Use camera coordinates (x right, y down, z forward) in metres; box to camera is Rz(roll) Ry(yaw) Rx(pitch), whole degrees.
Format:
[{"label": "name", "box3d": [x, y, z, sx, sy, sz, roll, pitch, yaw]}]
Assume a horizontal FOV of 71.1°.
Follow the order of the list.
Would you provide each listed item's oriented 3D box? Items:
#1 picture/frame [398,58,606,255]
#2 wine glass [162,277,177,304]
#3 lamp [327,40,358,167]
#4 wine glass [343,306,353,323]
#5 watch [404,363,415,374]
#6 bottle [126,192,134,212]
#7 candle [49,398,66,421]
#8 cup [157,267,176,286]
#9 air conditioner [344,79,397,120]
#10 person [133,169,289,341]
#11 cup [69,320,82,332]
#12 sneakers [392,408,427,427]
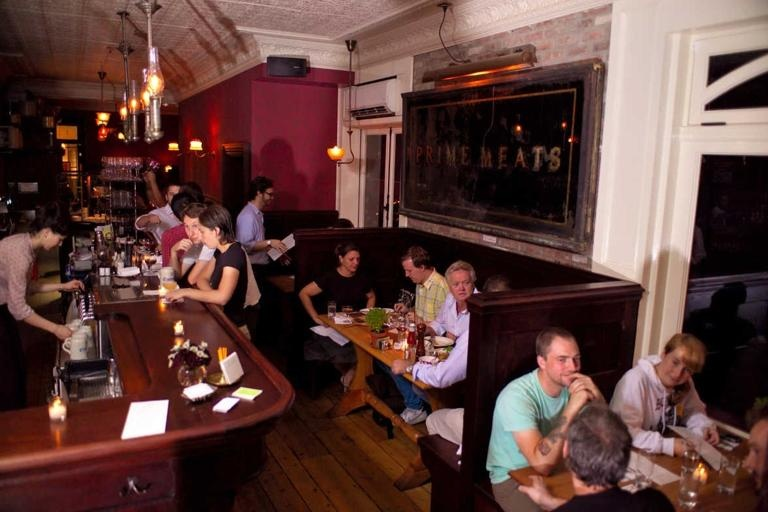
[{"label": "picture/frame", "box3d": [1.352, -1.105, 5.905, 0.104, 1.396, 2.547, -5, 9, -31]}, {"label": "wine glass", "box3d": [-1.982, 0.319, 5.015, 0.152, 0.237, 0.249, 3, -3, -1]}, {"label": "lamp", "box3d": [-0.682, -2.445, 8.628, 0.565, 1.977, 0.358, 8, 14, 29]}, {"label": "wine glass", "box3d": [-0.389, 0.620, 5.770, 0.132, 0.206, 0.131, -2, 2, -5]}, {"label": "watch", "box3d": [0.222, 0.970, 4.649, 0.071, 0.076, 0.088, -3, -12, -14]}, {"label": "bottle", "box3d": [-4.268, -0.955, 8.951, 0.127, 0.249, 0.231, -5, 10, -25]}, {"label": "candle", "box3d": [-2.004, 0.910, 3.273, 0.097, 0.146, 0.159, -6, 11, -32]}, {"label": "cup", "box3d": [-2.117, 0.194, 5.233, 0.194, 0.191, 0.124, -1, -3, 38]}, {"label": "air conditioner", "box3d": [-0.207, -2.402, 8.278, 0.220, 0.472, 0.953, -8, 12, -40]}, {"label": "person", "box3d": [-1.948, -0.015, 5.792, 0.821, 1.275, 2.369, -5, 10, -23]}, {"label": "cup", "box3d": [-2.649, 0.595, 4.584, 0.090, 0.142, 0.144, 1, -1, -26]}, {"label": "sneakers", "box3d": [0.248, 1.609, 5.343, 0.348, 0.148, 0.126, 2, -1, -18]}]
